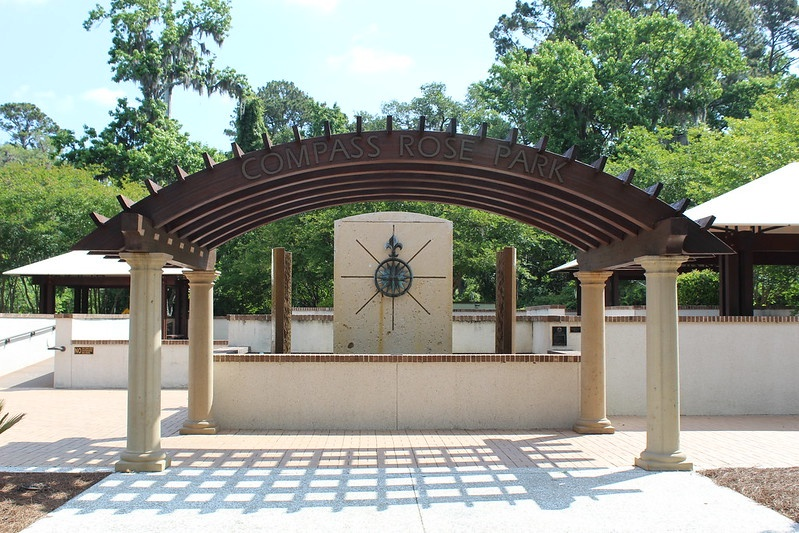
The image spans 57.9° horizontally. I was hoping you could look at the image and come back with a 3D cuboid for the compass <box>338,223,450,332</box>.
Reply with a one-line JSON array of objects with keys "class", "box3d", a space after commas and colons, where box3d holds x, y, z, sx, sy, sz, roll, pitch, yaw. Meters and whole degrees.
[{"class": "compass", "box3d": [-0.207, 0.385, 18.126, 2.968, 2.709, 0.315, 1, -4, -4]}]
